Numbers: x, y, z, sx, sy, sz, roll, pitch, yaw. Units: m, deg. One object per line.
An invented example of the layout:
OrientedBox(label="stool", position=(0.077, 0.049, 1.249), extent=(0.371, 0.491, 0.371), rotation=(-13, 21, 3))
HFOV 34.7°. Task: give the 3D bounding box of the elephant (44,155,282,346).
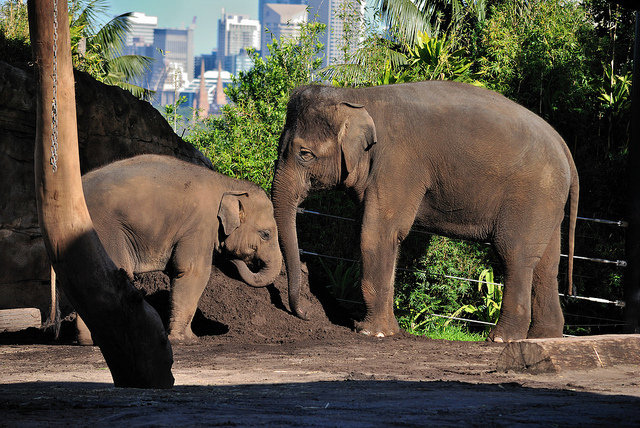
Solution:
OrientedBox(label="elephant", position=(-1.827, 0.424, 13.553), extent=(2.497, 2.360, 1.047), rotation=(-1, 9, -13))

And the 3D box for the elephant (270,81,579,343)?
OrientedBox(label="elephant", position=(1.386, -0.072, 14.348), extent=(4.208, 3.640, 1.724), rotation=(2, 11, 6))
